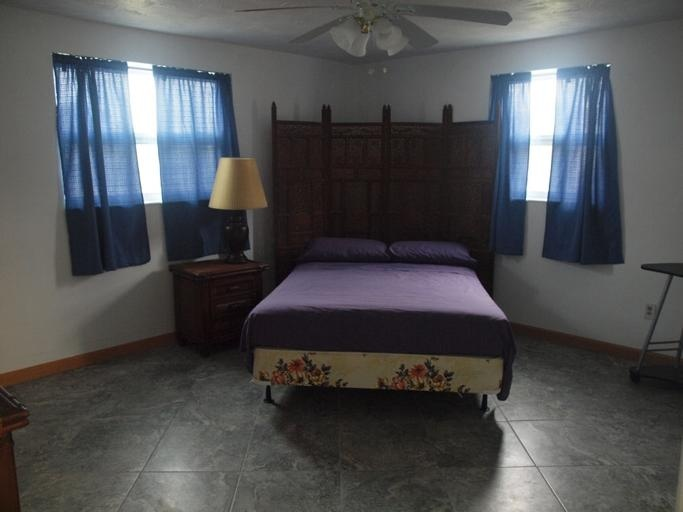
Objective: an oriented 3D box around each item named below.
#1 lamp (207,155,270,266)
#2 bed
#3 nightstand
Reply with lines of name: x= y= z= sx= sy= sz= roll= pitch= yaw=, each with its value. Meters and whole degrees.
lamp: x=-1.029 y=-0.452 z=5.113 sx=0.506 sy=1.036 sz=0.366 roll=4 pitch=15 yaw=25
bed: x=0.364 y=0.563 z=4.777 sx=2.089 sy=1.031 sz=1.933 roll=-1 pitch=13 yaw=7
nightstand: x=-1.240 y=0.520 z=5.264 sx=0.633 sy=0.800 sz=0.830 roll=7 pitch=11 yaw=35
